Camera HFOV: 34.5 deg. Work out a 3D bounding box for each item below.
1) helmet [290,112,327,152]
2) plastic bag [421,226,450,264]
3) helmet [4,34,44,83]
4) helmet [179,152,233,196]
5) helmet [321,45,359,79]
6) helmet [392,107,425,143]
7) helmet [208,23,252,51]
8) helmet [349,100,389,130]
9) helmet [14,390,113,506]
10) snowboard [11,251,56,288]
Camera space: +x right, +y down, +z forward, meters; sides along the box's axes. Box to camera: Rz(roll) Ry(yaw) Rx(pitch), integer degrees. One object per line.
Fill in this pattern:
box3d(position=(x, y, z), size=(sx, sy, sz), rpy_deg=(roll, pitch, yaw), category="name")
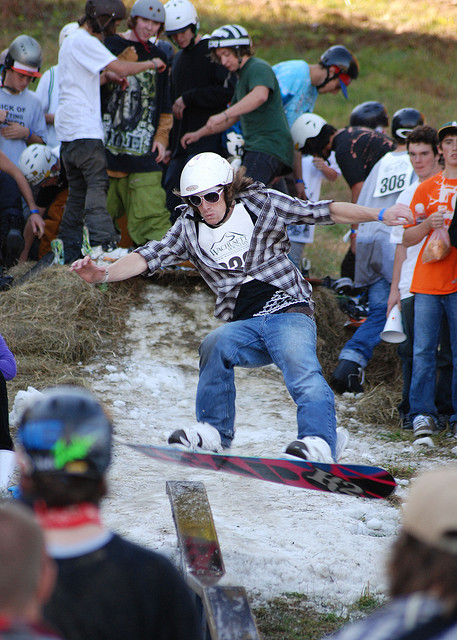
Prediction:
box3d(position=(0.710, -1.724, 6.812), size=(0.406, 0.332, 0.284), rpy_deg=(6, -2, -2), category="helmet")
box3d(position=(1.266, -0.458, 4.470), size=(0.111, 0.221, 0.121), rpy_deg=(3, 58, -6), category="plastic bag")
box3d(position=(-1.851, -2.349, 6.695), size=(0.330, 0.344, 0.363), rpy_deg=(11, 45, -25), category="helmet")
box3d(position=(-0.106, -0.787, 3.956), size=(0.280, 0.224, 0.339), rpy_deg=(-1, -1, 21), category="helmet")
box3d(position=(1.018, -2.380, 6.768), size=(0.257, 0.277, 0.443), rpy_deg=(19, 21, 41), category="helmet")
box3d(position=(1.408, -1.530, 5.783), size=(0.241, 0.264, 0.378), rpy_deg=(7, 16, 10), category="helmet")
box3d(position=(0.044, -2.261, 5.912), size=(0.351, 0.177, 0.228), rpy_deg=(-10, 29, -17), category="helmet")
box3d(position=(1.289, -1.875, 6.805), size=(0.361, 0.312, 0.277), rpy_deg=(1, 16, 12), category="helmet")
box3d(position=(-0.299, 0.221, 1.361), size=(0.177, 0.198, 0.226), rpy_deg=(1, 3, -8), category="helmet")
box3d(position=(-1.684, -0.428, 6.375), size=(0.140, 0.106, 0.930), rpy_deg=(45, 18, -2), category="snowboard")
